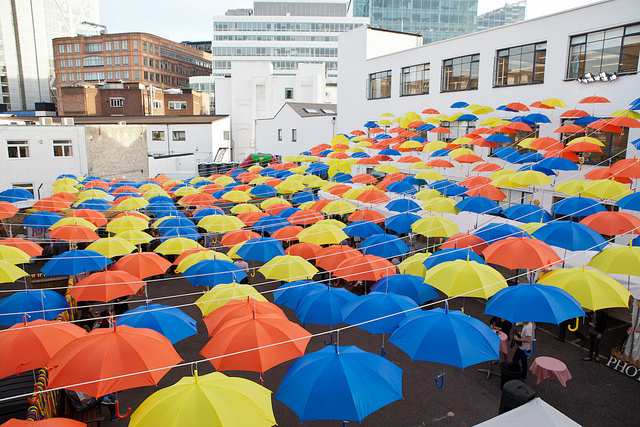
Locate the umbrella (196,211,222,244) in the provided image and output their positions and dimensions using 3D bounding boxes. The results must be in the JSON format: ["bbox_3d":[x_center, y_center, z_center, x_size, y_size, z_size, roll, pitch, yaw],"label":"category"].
[{"bbox_3d":[-5.883,0.712,28.943,1.666,1.400,1.551,-7,11,-38],"label":"umbrella"}]

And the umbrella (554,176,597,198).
[{"bbox_3d":[11.859,-1.200,25.294,1.117,0.508,1.067,-4,19,-4],"label":"umbrella"}]

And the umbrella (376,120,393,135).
[{"bbox_3d":[4.817,-6.376,40.567,1.479,1.388,1.428,-1,8,3],"label":"umbrella"}]

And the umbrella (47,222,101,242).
[{"bbox_3d":[-11.727,0.987,26.219,1.176,0.539,1.155,4,1,18],"label":"umbrella"}]

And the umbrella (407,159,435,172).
[{"bbox_3d":[6.201,-2.955,33.438,1.516,0.905,1.463,-1,5,4],"label":"umbrella"}]

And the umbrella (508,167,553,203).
[{"bbox_3d":[9.925,-1.585,25.605,1.086,1.059,1.057,-2,1,-43],"label":"umbrella"}]

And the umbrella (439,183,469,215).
[{"bbox_3d":[6.753,-0.722,27.554,1.599,1.462,1.607,3,7,34],"label":"umbrella"}]

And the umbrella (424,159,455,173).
[{"bbox_3d":[7.075,-2.804,32.319,1.319,0.605,1.268,0,7,2],"label":"umbrella"}]

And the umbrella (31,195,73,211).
[{"bbox_3d":[-16.041,-0.573,32.936,1.309,0.600,1.299,3,10,3],"label":"umbrella"}]

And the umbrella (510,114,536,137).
[{"bbox_3d":[11.299,-4.950,30.665,0.991,0.926,0.955,-13,23,-29],"label":"umbrella"}]

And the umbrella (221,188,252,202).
[{"bbox_3d":[-5.079,-1.027,33.235,1.524,0.559,0.809,3,12,17],"label":"umbrella"}]

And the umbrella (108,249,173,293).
[{"bbox_3d":[-7.837,2.269,23.699,2.483,1.102,2.536,-10,21,-37],"label":"umbrella"}]

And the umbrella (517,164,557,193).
[{"bbox_3d":[10.747,-1.741,27.058,1.457,1.242,1.399,-10,16,-4],"label":"umbrella"}]

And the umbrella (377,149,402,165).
[{"bbox_3d":[4.353,-3.642,34.186,0.913,0.653,1.248,10,15,41],"label":"umbrella"}]

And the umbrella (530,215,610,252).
[{"bbox_3d":[10.275,0.773,22.399,2.623,1.299,2.616,-15,20,-40],"label":"umbrella"}]

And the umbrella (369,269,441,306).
[{"bbox_3d":[3.256,2.880,22.073,2.880,0.949,2.810,21,2,19],"label":"umbrella"}]

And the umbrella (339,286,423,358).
[{"bbox_3d":[2.257,4.100,20.616,2.653,2.167,2.452,0,21,10],"label":"umbrella"}]

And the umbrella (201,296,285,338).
[{"bbox_3d":[-3.073,3.557,19.786,2.016,0.670,1.947,-1,8,9],"label":"umbrella"}]

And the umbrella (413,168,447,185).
[{"bbox_3d":[6.476,-2.117,32.031,1.438,0.678,1.368,-2,9,-7],"label":"umbrella"}]

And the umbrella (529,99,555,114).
[{"bbox_3d":[11.990,-5.802,29.793,0.770,0.627,0.753,2,4,16],"label":"umbrella"}]

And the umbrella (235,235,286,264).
[{"bbox_3d":[-2.599,1.503,25.033,2.348,0.755,2.174,-5,17,-9],"label":"umbrella"}]

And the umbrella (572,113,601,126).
[{"bbox_3d":[13.894,-4.884,28.479,1.028,0.625,1.009,0,7,25],"label":"umbrella"}]

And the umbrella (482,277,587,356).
[{"bbox_3d":[7.439,3.612,19.979,3.081,2.526,2.827,11,19,-7],"label":"umbrella"}]

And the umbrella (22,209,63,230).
[{"bbox_3d":[-15.245,0.674,30.031,1.482,0.636,1.411,4,17,-10],"label":"umbrella"}]

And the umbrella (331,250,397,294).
[{"bbox_3d":[1.814,2.235,22.165,1.480,1.172,1.481,14,26,37],"label":"umbrella"}]

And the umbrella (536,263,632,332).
[{"bbox_3d":[9.703,3.134,20.292,2.236,1.760,2.195,-1,8,1],"label":"umbrella"}]

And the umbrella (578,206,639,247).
[{"bbox_3d":[11.753,0.399,22.048,1.343,1.029,1.288,-1,6,-10],"label":"umbrella"}]

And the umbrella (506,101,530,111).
[{"bbox_3d":[11.466,-6.183,31.626,1.024,0.458,0.981,1,6,2],"label":"umbrella"}]

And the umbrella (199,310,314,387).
[{"bbox_3d":[-1.926,4.759,19.658,3.771,2.606,3.139,6,13,15],"label":"umbrella"}]

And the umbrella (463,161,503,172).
[{"bbox_3d":[9.280,-2.651,30.914,1.128,0.450,1.085,-11,7,-25],"label":"umbrella"}]

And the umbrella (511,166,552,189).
[{"bbox_3d":[9.984,-1.477,25.908,1.369,0.666,1.308,-2,17,1],"label":"umbrella"}]

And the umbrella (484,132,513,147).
[{"bbox_3d":[10.039,-4.163,30.862,1.096,0.659,1.053,-2,12,1],"label":"umbrella"}]

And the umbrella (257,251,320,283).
[{"bbox_3d":[-1.337,2.144,23.067,2.540,1.094,2.492,3,16,0],"label":"umbrella"}]

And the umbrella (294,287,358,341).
[{"bbox_3d":[0.173,3.734,20.600,1.676,1.445,1.643,2,5,26],"label":"umbrella"}]

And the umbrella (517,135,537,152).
[{"bbox_3d":[11.229,-3.821,29.435,1.180,1.037,1.130,-3,6,-8],"label":"umbrella"}]

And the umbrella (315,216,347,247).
[{"bbox_3d":[0.451,0.880,25.893,1.474,1.292,1.422,2,17,9],"label":"umbrella"}]

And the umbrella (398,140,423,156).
[{"bbox_3d":[5.706,-4.158,34.461,1.233,0.954,1.195,-3,-4,7],"label":"umbrella"}]

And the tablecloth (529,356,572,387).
[{"bbox_3d":[8.557,5.957,20.115,1.449,0.685,1.433,-1,-3,-16],"label":"tablecloth"}]

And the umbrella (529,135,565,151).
[{"bbox_3d":[11.718,-3.505,28.211,1.736,0.709,1.147,-8,14,-32],"label":"umbrella"}]

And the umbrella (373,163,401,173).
[{"bbox_3d":[4.122,-2.613,33.125,1.114,0.471,1.596,-8,14,-34],"label":"umbrella"}]

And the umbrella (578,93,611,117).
[{"bbox_3d":[14.692,-5.761,29.174,1.538,1.189,1.430,-3,3,13],"label":"umbrella"}]

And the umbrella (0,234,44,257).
[{"bbox_3d":[-13.387,1.518,24.817,1.220,0.572,1.245,4,3,41],"label":"umbrella"}]

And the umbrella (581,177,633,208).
[{"bbox_3d":[12.279,-1.059,23.563,1.413,1.107,1.349,-10,18,-19],"label":"umbrella"}]

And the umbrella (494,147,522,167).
[{"bbox_3d":[10.135,-3.177,29.857,1.166,1.087,1.159,17,12,21],"label":"umbrella"}]

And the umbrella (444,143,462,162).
[{"bbox_3d":[7.622,-3.525,31.303,1.149,1.257,1.286,-4,18,5],"label":"umbrella"}]

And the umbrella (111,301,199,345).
[{"bbox_3d":[-6.027,4.034,19.838,2.102,0.958,2.005,1,8,1],"label":"umbrella"}]

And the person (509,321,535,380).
[{"bbox_3d":[7.542,5.173,20.482,0.684,2.351,0.901,5,13,25],"label":"person"}]

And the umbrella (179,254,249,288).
[{"bbox_3d":[-4.326,2.294,23.271,2.727,0.955,2.663,-8,11,-2],"label":"umbrella"}]

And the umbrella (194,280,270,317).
[{"bbox_3d":[-3.454,3.088,21.613,2.961,1.024,2.934,3,5,9],"label":"umbrella"}]

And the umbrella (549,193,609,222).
[{"bbox_3d":[11.387,-0.315,24.314,1.515,0.915,1.471,-2,6,6],"label":"umbrella"}]

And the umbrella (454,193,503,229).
[{"bbox_3d":[7.268,0.046,25.740,2.077,1.362,1.811,4,-7,16],"label":"umbrella"}]

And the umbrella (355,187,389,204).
[{"bbox_3d":[2.711,-0.880,28.718,1.382,0.614,1.025,-7,13,-29],"label":"umbrella"}]

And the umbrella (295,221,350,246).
[{"bbox_3d":[0.108,1.013,25.168,1.256,0.546,1.264,7,14,33],"label":"umbrella"}]

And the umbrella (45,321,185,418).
[{"bbox_3d":[-6.880,5.182,18.486,3.232,2.280,2.961,-5,16,-14],"label":"umbrella"}]

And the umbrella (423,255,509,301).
[{"bbox_3d":[5.331,2.461,20.294,2.154,1.046,2.098,1,16,11],"label":"umbrella"}]
